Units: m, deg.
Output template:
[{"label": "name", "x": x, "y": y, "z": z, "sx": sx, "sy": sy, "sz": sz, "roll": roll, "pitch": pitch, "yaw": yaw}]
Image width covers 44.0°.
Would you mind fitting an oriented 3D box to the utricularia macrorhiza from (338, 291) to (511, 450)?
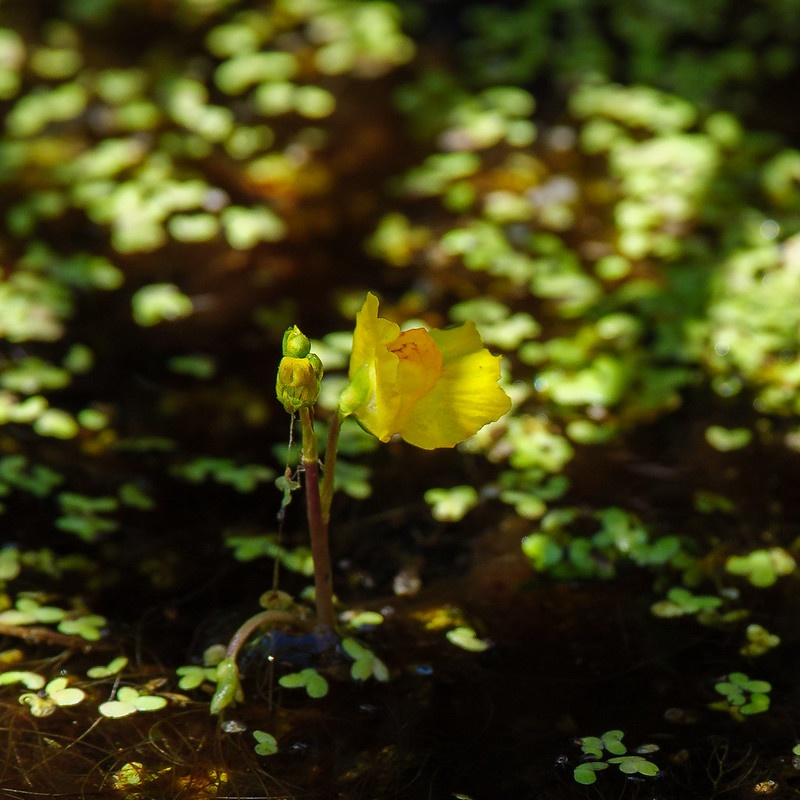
[{"label": "utricularia macrorhiza", "x": -0.001, "y": -0.043, "z": 1.328, "sx": 0.279, "sy": 0.113, "sz": 0.242, "roll": -5, "pitch": 20, "yaw": -19}]
